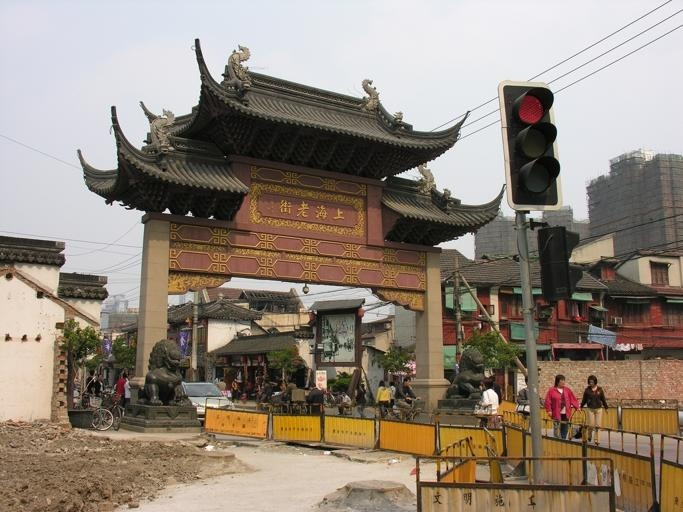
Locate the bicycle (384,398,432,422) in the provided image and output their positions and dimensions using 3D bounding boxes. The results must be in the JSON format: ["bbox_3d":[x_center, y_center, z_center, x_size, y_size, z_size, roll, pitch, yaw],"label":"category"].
[{"bbox_3d":[2.307,5.129,33.629,1.604,0.961,0.886,-4,-25,36],"label":"bicycle"}]

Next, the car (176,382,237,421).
[{"bbox_3d":[-4.820,5.077,36.697,1.167,0.964,2.004,6,-19,-26],"label":"car"}]

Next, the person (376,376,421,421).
[{"bbox_3d":[1.968,4.877,34.678,1.127,1.081,1.722,3,-8,-7],"label":"person"}]

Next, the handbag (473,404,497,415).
[{"bbox_3d":[4.166,4.373,28.819,0.428,0.222,0.610,1,-6,9],"label":"handbag"}]
